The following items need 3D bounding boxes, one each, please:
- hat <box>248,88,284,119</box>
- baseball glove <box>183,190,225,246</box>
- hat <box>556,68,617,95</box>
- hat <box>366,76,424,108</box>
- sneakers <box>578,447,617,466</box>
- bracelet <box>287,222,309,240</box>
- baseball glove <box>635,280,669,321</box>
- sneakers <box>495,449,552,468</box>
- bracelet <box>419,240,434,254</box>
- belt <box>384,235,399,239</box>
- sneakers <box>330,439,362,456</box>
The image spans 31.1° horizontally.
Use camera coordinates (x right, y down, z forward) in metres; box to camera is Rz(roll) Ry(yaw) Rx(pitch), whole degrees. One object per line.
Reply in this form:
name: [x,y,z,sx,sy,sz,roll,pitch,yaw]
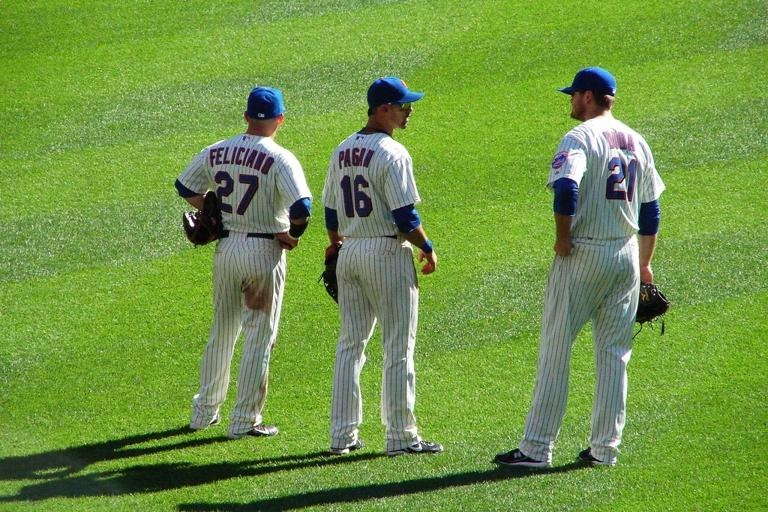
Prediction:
hat: [-1.446,-1.822,16.551,0.456,0.359,0.301,-8,19,-5]
baseball glove: [-2.150,-0.446,16.553,0.508,0.628,0.309,-6,-1,5]
hat: [2.372,-2.025,16.105,0.568,0.261,0.353,7,11,15]
hat: [0.109,-1.928,16.209,0.552,0.253,0.361,-4,21,1]
sneakers: [2.482,2.327,15.946,0.497,0.187,0.172,5,-2,14]
bracelet: [-0.996,-0.326,16.464,0.222,0.208,0.182,-5,52,-44]
baseball glove: [3.165,0.556,16.445,0.519,0.455,0.268,-14,2,-41]
sneakers: [1.612,2.360,15.962,0.636,0.226,0.222,7,-8,7]
bracelet: [0.492,-0.130,16.178,0.138,0.139,0.143,-42,42,-8]
belt: [0.075,-0.213,16.095,0.156,0.052,0.026,-10,20,-11]
sneakers: [-0.424,2.249,16.368,0.418,0.173,0.150,-11,13,-42]
